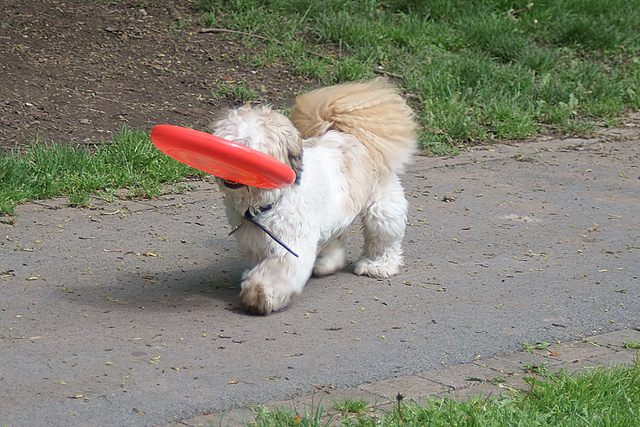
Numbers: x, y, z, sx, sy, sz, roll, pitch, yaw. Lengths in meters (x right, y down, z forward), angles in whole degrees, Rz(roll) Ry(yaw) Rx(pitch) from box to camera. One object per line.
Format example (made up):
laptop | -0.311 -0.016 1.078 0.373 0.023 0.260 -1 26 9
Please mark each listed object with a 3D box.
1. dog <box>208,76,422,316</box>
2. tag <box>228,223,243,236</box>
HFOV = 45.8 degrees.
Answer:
dog | 0.010 -0.186 6.708 1.600 1.978 1.780 16 19 16
tag | -0.725 0.131 6.420 0.061 0.147 0.155 3 18 -25
